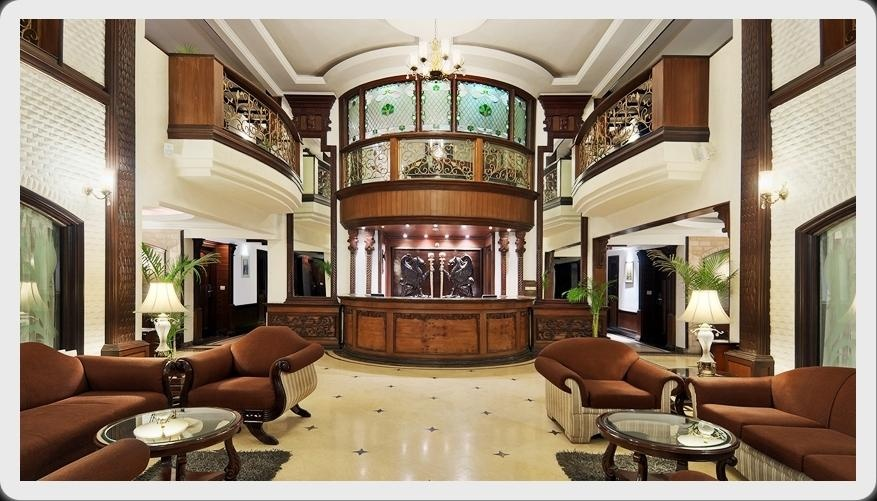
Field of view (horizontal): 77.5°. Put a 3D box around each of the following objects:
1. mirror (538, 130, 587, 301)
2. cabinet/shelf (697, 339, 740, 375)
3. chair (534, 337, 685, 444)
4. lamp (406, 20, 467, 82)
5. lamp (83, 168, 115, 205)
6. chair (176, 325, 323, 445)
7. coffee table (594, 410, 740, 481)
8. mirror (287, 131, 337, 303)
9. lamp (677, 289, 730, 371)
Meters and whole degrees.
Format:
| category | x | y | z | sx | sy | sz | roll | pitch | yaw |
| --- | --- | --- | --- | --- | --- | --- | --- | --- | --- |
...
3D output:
| category | x | y | z | sx | sy | sz | roll | pitch | yaw |
| --- | --- | --- | --- | --- | --- | --- | --- | --- | --- |
| mirror | 3.187 | -0.819 | 14.185 | 0.937 | 2.702 | 2.901 | 3 | 1 | 3 |
| cabinet/shelf | 3.681 | 1.430 | 7.300 | 0.492 | 0.581 | 0.689 | 1 | -3 | 8 |
| chair | 2.153 | 1.757 | 7.144 | 1.690 | 0.909 | 1.256 | 2 | 3 | -4 |
| lamp | -0.113 | -3.317 | 8.885 | 0.842 | 1.207 | 1.651 | -1 | 9 | -8 |
| lamp | -4.598 | -0.847 | 7.301 | 0.463 | 0.436 | 0.276 | 13 | 34 | 21 |
| chair | -2.467 | 1.710 | 7.264 | 1.497 | 1.134 | 1.646 | 2 | -1 | 2 |
| coffee table | 2.406 | 2.205 | 5.887 | 1.348 | 0.712 | 0.772 | 5 | 10 | 29 |
| mirror | -3.186 | -0.533 | 13.703 | 1.073 | 4.523 | 5.493 | -2 | 9 | -14 |
| lamp | 3.506 | 1.021 | 7.239 | 0.566 | 1.104 | 0.848 | 5 | 10 | 27 |
